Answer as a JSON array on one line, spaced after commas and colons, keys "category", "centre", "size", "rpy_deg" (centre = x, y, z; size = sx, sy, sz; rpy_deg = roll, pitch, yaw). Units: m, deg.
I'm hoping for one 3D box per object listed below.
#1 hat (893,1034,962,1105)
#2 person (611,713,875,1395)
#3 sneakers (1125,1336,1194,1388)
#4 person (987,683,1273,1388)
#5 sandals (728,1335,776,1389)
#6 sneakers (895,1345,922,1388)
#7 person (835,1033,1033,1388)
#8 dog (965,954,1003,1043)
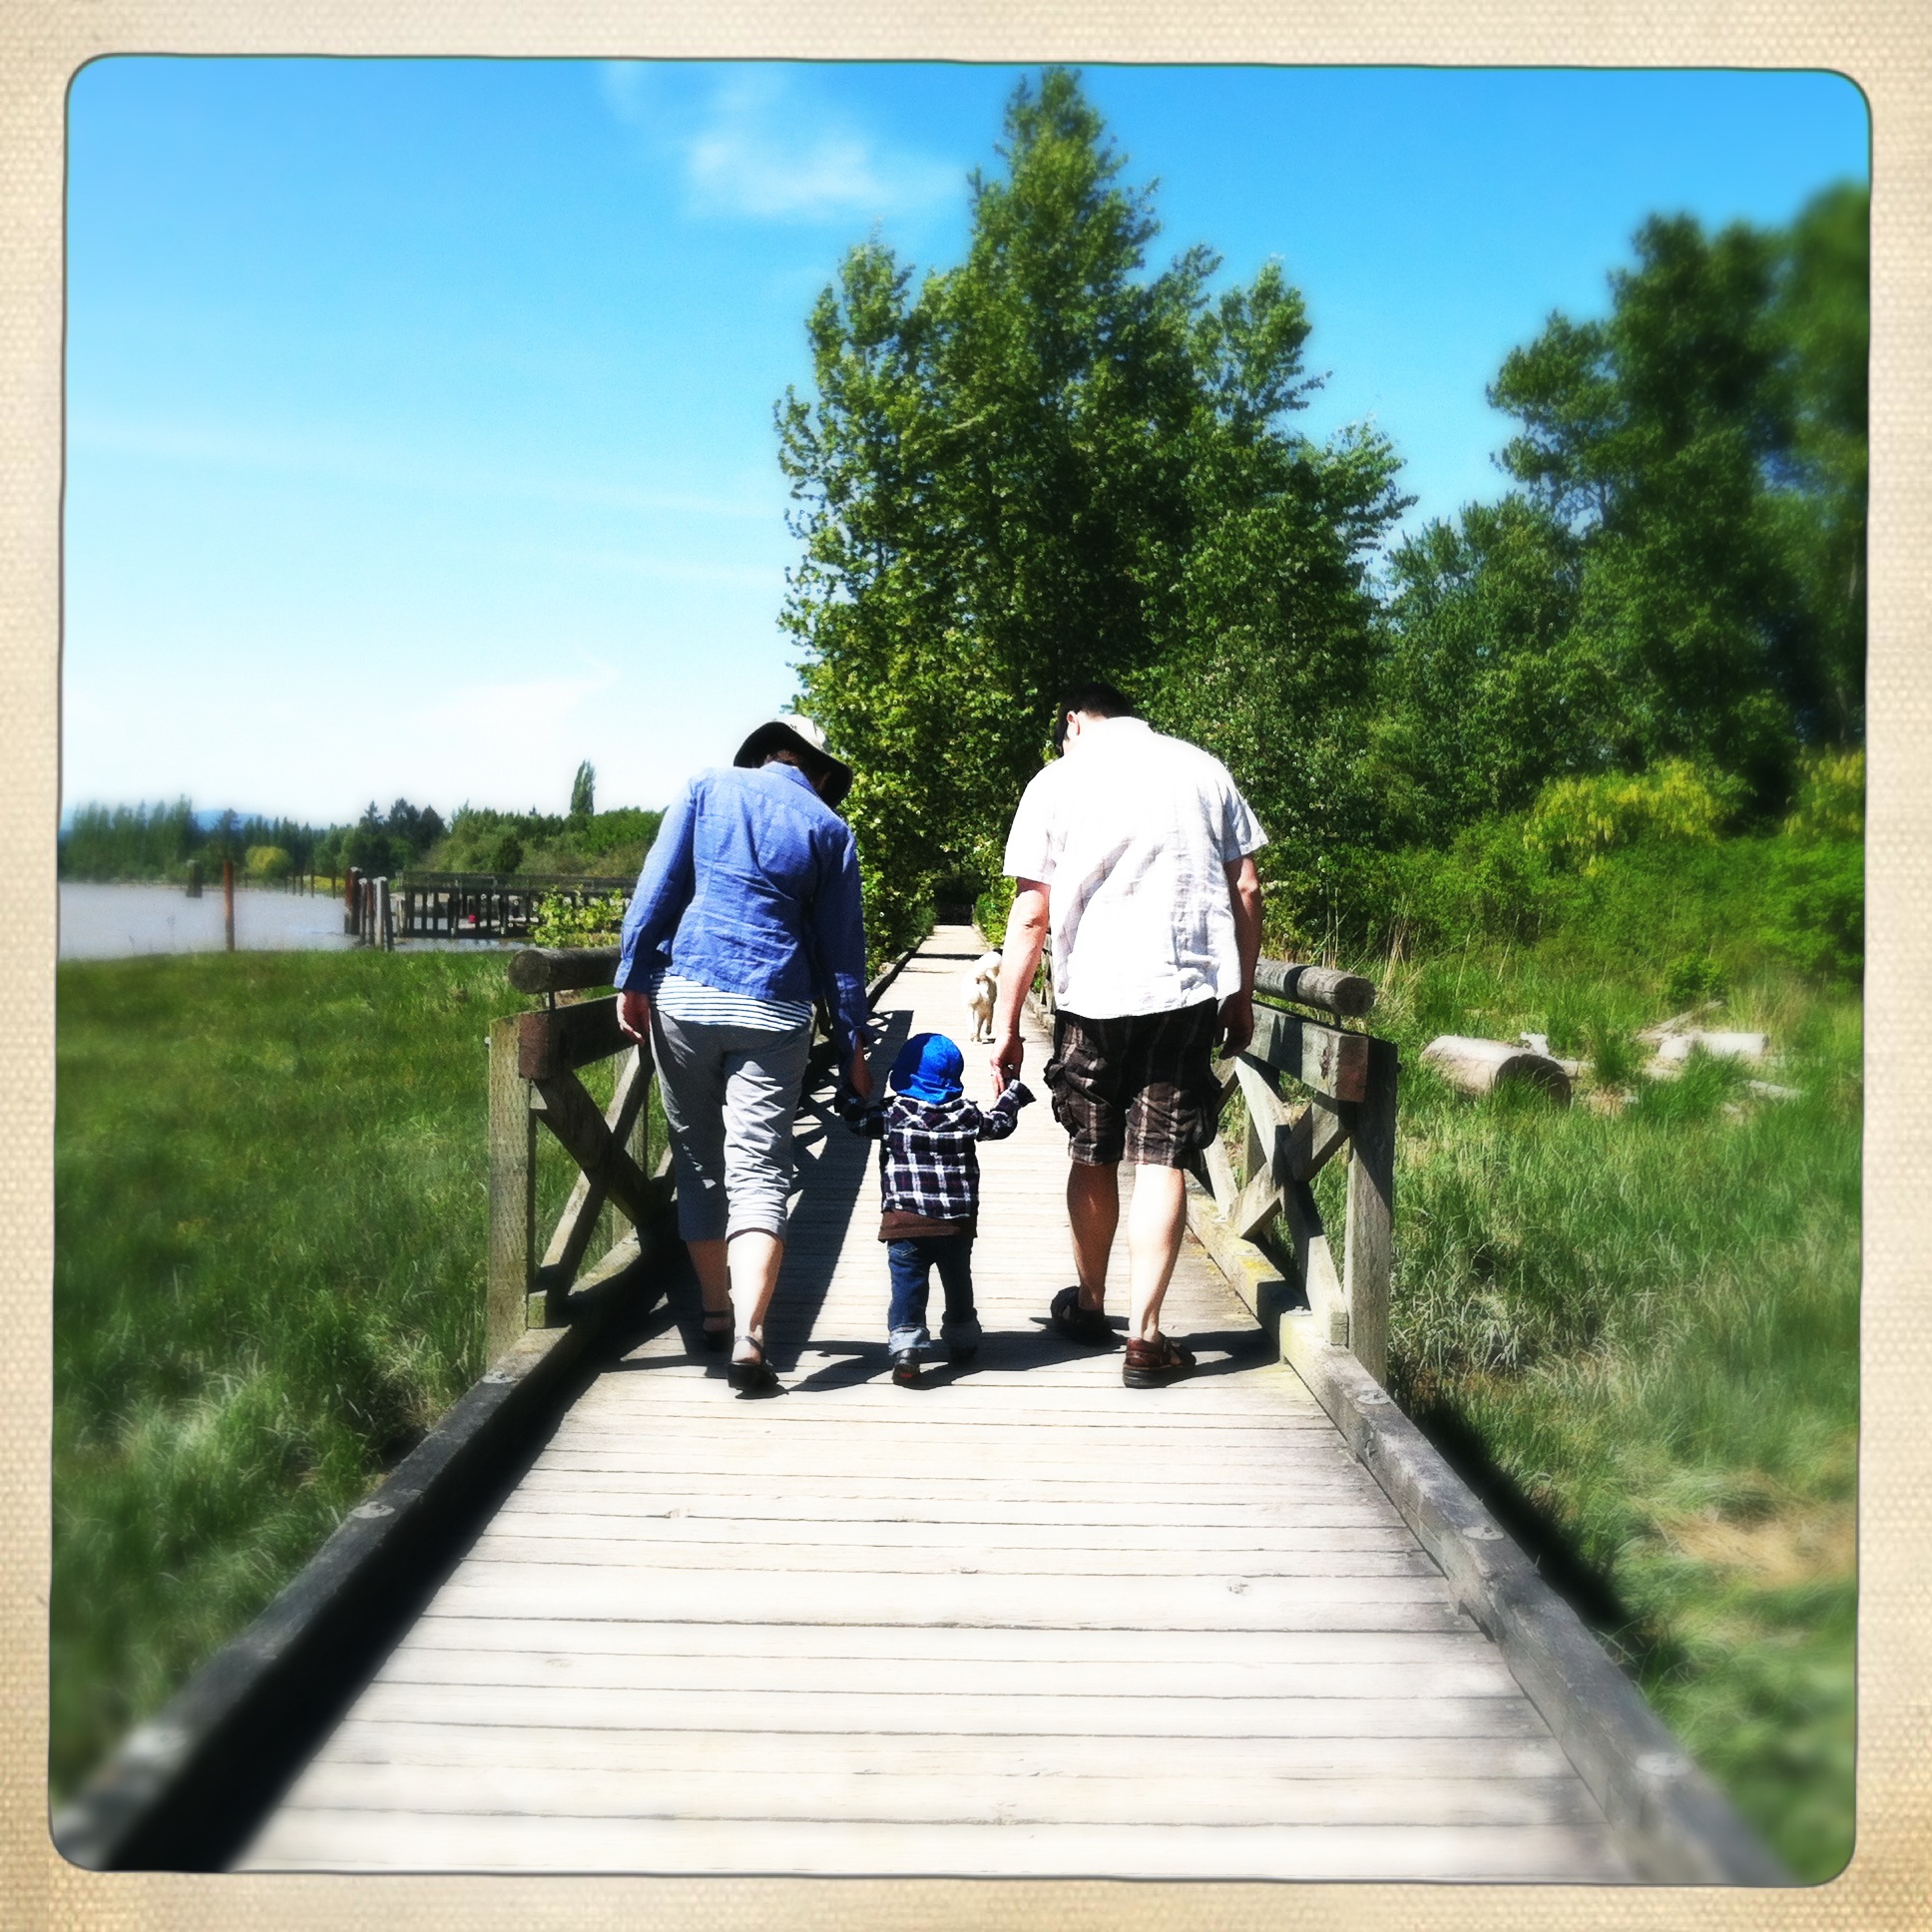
[{"category": "hat", "centre": [-0.096, 0.247, 5.249], "size": [0.108, 0.174, 0.179], "rpy_deg": [4, 8, 12]}, {"category": "person", "centre": [-0.580, 0.241, 5.291], "size": [0.603, 1.495, 0.544], "rpy_deg": [4, 5, 34]}, {"category": "sneakers", "centre": [0.467, 0.960, 5.207], "size": [0.085, 0.102, 0.205], "rpy_deg": [1, -1, 12]}, {"category": "person", "centre": [0.407, 0.156, 5.360], "size": [0.646, 1.722, 0.639], "rpy_deg": [2, 4, 9]}, {"category": "sandals", "centre": [-0.501, 0.939, 5.049], "size": [0.054, 0.162, 0.191], "rpy_deg": [2, 3, 12]}, {"category": "sneakers", "centre": [-0.137, 0.960, 5.145], "size": [0.071, 0.099, 0.155], "rpy_deg": [1, 5, -3]}, {"category": "person", "centre": [-0.093, 0.702, 5.809], "size": [0.566, 1.250, 0.488], "rpy_deg": [0, 6, 8]}, {"category": "dog", "centre": [0.137, 0.227, 13.141], "size": [0.158, 0.760, 0.312], "rpy_deg": [0, 4, -4]}]
